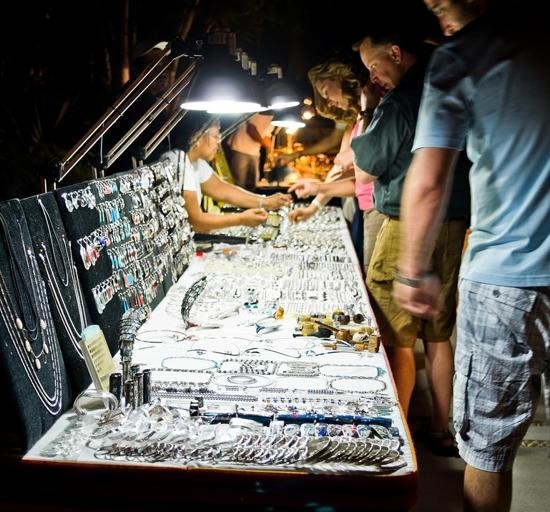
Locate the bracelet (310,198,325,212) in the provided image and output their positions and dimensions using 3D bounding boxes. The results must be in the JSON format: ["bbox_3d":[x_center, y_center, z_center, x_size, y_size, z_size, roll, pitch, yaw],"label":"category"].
[{"bbox_3d":[0.371,-0.449,4.102,0.093,0.114,0.117,-1,31,-7],"label":"bracelet"}]

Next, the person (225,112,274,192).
[{"bbox_3d":[-0.279,-1.115,4.830,0.285,0.263,0.824,8,-25,-20],"label":"person"}]

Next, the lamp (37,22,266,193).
[{"bbox_3d":[-0.661,-0.703,2.337,0.129,0.444,1.179,3,22,30],"label":"lamp"}]
